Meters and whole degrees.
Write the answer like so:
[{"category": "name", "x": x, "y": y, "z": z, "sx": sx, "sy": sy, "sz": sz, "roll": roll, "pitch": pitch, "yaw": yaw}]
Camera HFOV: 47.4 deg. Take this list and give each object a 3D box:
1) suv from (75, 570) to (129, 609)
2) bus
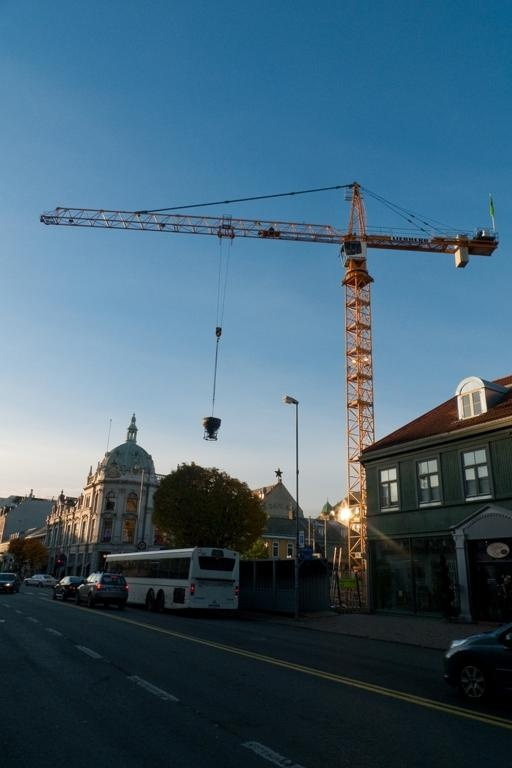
[{"category": "suv", "x": -7.487, "y": 9.938, "z": 28.384, "sx": 1.628, "sy": 1.424, "sz": 3.514, "roll": 13, "pitch": -22, "yaw": -25}, {"category": "bus", "x": -5.147, "y": 9.858, "z": 29.713, "sx": 2.438, "sy": 2.921, "sz": 11.180, "roll": 18, "pitch": -24, "yaw": -33}]
